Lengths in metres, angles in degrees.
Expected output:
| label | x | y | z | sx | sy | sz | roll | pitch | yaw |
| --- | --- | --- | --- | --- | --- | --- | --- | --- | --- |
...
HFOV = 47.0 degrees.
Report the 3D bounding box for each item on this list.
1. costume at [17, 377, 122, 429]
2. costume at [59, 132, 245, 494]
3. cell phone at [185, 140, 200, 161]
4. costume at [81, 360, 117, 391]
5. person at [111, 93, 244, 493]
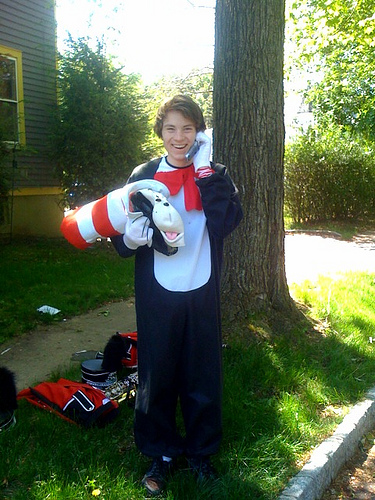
| label | x | y | z | sx | sy | sz | roll | pitch | yaw |
| --- | --- | --- | --- | --- | --- | --- | --- | --- | --- |
| costume | -0.624 | 0.842 | 2.397 | 0.328 | 0.111 | 0.291 | 19 | 9 | 25 |
| costume | -0.141 | 0.239 | 1.853 | 0.644 | 1.527 | 0.403 | 4 | 7 | -29 |
| cell phone | 0.020 | -0.429 | 1.859 | 0.027 | 0.113 | 0.045 | 14 | -30 | 33 |
| costume | -0.582 | 0.802 | 2.791 | 0.180 | 0.102 | 0.175 | -1 | 2 | -40 |
| person | -0.056 | 0.169 | 1.900 | 0.564 | 1.681 | 0.409 | 7 | 6 | -9 |
